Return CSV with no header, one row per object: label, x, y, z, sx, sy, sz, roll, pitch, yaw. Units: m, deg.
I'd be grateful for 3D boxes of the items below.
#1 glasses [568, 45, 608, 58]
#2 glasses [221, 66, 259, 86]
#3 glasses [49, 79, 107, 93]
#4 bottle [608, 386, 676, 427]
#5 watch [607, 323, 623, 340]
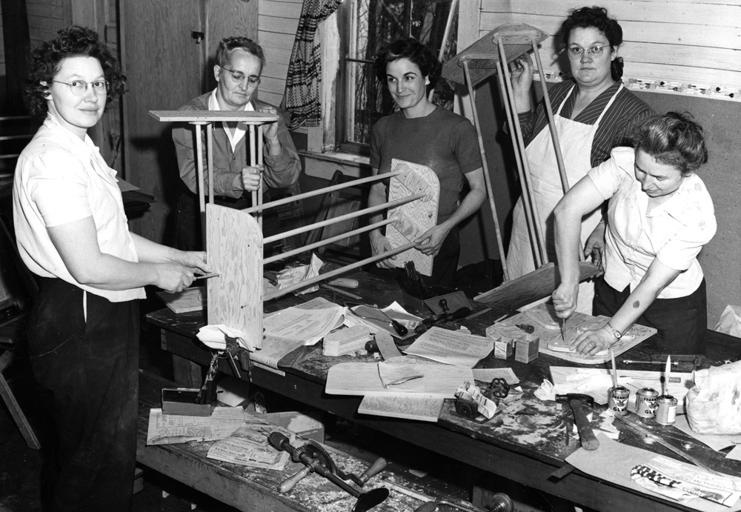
glasses,1.152,-1.085,3.158,0.194,0.067,0.047,8,13,20
glasses,-0.663,-0.931,3.072,0.187,0.080,0.075,0,13,-17
glasses,-1.070,-0.632,2.206,0.171,0.050,0.051,-4,15,-33
bottle,1.025,0.547,2.238,0.239,0.115,0.141,9,14,23
watch,1.029,0.313,2.501,0.055,0.026,0.073,32,6,20
